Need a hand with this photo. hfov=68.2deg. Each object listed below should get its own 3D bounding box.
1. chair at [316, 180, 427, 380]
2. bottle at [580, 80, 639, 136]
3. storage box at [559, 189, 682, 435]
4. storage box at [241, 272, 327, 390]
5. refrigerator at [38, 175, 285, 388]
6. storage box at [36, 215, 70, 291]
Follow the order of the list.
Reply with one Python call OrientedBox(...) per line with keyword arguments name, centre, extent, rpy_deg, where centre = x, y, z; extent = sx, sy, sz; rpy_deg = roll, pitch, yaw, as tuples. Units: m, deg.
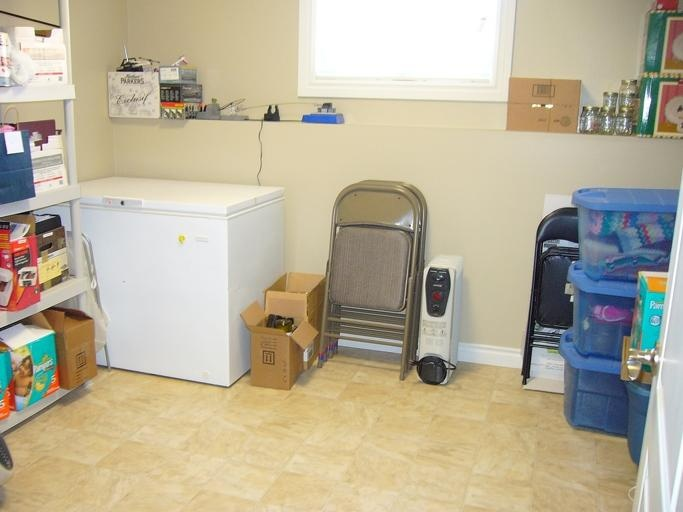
OrientedBox(name="chair", centre=(0.208, 0.134, 3.404), extent=(0.650, 1.234, 0.467), rpy_deg=(5, 16, 13))
OrientedBox(name="bottle", centre=(1.705, -0.937, 3.200), extent=(0.348, 0.361, 0.144), rpy_deg=(2, 12, 12))
OrientedBox(name="storage box", centre=(1.393, 0.328, 2.688), extent=(0.467, 1.321, 0.373), rpy_deg=(9, 18, 25))
OrientedBox(name="storage box", centre=(-0.336, 0.427, 3.357), extent=(0.539, 0.654, 0.890), rpy_deg=(8, 18, 10))
OrientedBox(name="refrigerator", centre=(-1.093, 0.071, 3.650), extent=(1.736, 1.592, 1.113), rpy_deg=(5, 11, 17))
OrientedBox(name="storage box", centre=(-1.643, -0.027, 2.828), extent=(0.100, 0.394, 0.221), rpy_deg=(3, 16, 6))
